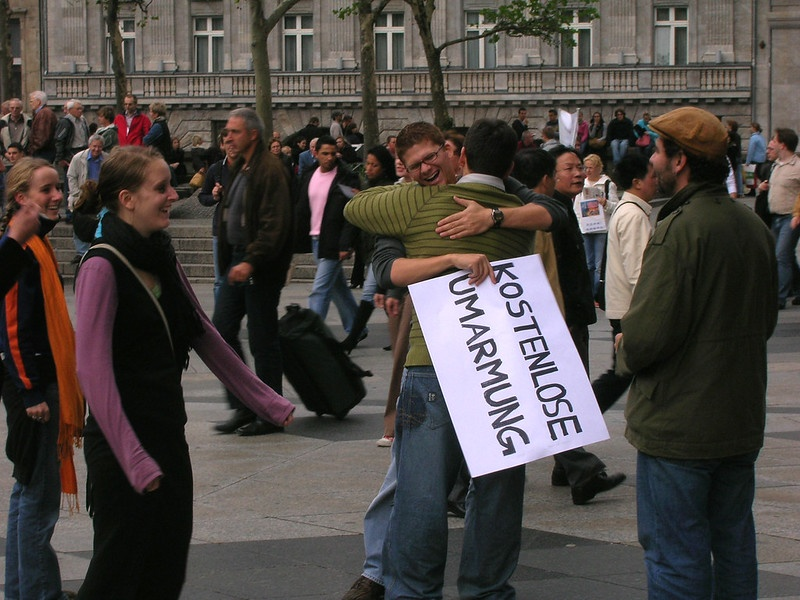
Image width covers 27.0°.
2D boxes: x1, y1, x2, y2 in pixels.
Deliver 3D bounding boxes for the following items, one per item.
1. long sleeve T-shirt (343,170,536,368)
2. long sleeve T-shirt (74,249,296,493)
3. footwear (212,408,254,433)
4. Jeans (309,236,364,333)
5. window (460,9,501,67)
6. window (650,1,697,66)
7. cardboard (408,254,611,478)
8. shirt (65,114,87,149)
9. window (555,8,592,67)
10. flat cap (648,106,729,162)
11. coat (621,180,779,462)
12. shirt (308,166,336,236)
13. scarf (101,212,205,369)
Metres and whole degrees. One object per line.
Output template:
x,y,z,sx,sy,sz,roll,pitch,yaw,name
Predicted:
0.172,-0.472,10.127,1.124,1.063,0.406,-8,1,11,long sleeve T-shirt
-1.356,0.478,10.672,0.870,1.469,1.580,-15,0,35,long sleeve T-shirt
-1.293,0.939,13.134,0.411,0.174,0.129,-9,6,-2,footwear
-0.618,-0.148,16.150,0.599,0.245,0.942,-5,-26,-1,Jeans
2.250,-7.092,45.950,1.033,1.890,0.093,-2,36,0,window
7.337,-7.185,45.190,0.875,1.522,0.517,1,15,6,window
0.612,0.399,10.039,1.278,1.509,0.082,-19,-8,-9,cardboard
-4.979,-2.560,25.438,0.331,0.562,0.521,0,8,15,shirt
4.813,-7.040,45.464,1.068,1.832,0.156,0,23,9,window
1.692,-0.999,9.677,0.471,0.219,0.334,30,18,22,flat cap
1.705,0.115,9.487,0.921,1.488,0.565,0,14,3,coat
-0.755,-0.995,16.153,0.317,0.701,0.258,13,29,13,shirt
-1.370,-0.086,9.488,0.632,0.820,0.345,-32,15,-32,scarf
